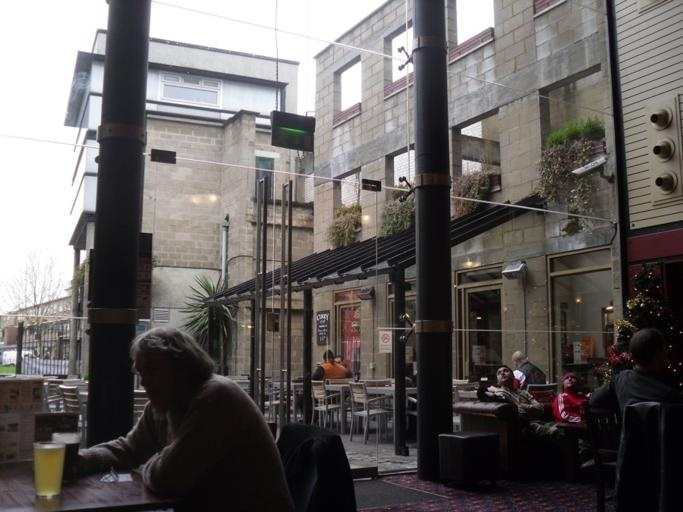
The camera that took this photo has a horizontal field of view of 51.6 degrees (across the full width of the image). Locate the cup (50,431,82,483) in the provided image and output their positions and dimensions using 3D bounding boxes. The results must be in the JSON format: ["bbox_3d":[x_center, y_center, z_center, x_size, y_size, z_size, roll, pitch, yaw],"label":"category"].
[{"bbox_3d":[-1.394,1.024,3.648,0.186,0.334,0.193,-1,-4,0],"label":"cup"}]

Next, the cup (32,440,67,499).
[{"bbox_3d":[-1.424,1.045,3.451,0.139,0.260,0.165,4,-11,-23],"label":"cup"}]

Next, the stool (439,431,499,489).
[{"bbox_3d":[1.345,2.033,7.264,0.521,0.615,0.542,1,-6,-27],"label":"stool"}]

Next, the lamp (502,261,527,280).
[{"bbox_3d":[2.273,0.171,9.277,0.383,0.261,0.065,4,-11,-23],"label":"lamp"}]

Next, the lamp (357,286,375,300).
[{"bbox_3d":[0.272,0.428,7.975,0.155,0.133,0.163,-9,-29,13],"label":"lamp"}]

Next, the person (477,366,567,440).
[{"bbox_3d":[2.101,1.681,7.949,0.613,0.554,1.055,-3,9,-39],"label":"person"}]
